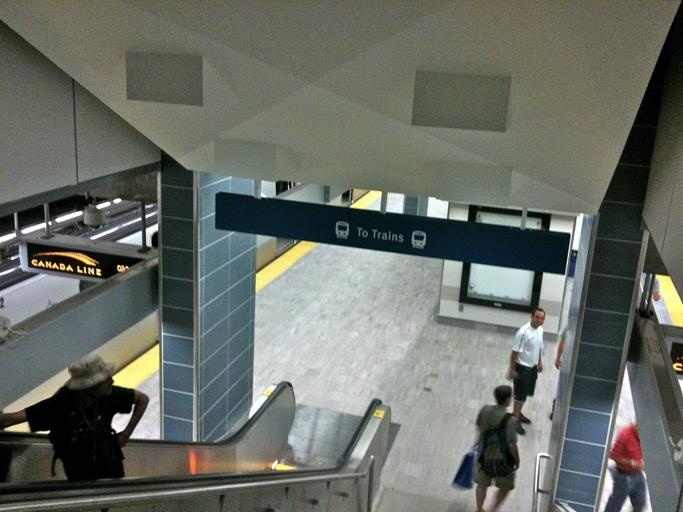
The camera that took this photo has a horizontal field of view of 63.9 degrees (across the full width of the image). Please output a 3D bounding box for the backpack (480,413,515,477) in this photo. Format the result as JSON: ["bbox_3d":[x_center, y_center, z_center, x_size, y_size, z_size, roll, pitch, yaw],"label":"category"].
[{"bbox_3d":[1.749,2.107,6.075,0.419,0.716,0.564,9,-14,19],"label":"backpack"}]

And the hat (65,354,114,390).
[{"bbox_3d":[-1.728,0.780,3.761,0.222,0.148,0.271,-12,13,12],"label":"hat"}]

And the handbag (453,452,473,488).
[{"bbox_3d":[1.540,2.696,6.885,0.263,0.471,0.511,9,-14,16],"label":"handbag"}]
